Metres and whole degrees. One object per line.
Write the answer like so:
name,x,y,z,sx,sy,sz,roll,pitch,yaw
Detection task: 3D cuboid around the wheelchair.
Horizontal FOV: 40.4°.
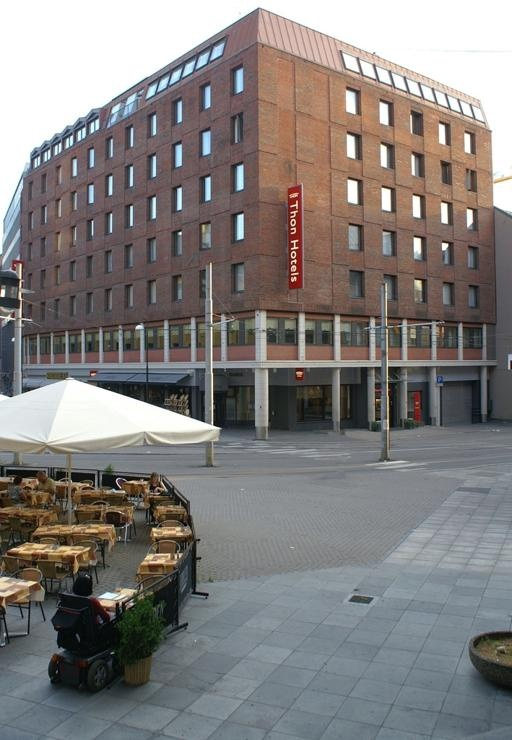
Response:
wheelchair,-1.946,3.124,8.238,0.669,0.988,1.022,-5,-7,20

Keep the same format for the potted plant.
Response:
potted plant,-1.308,3.075,7.857,0.480,1.003,0.473,1,-5,-34

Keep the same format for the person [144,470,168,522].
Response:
person,-2.470,3.164,17.122,0.695,1.138,0.822,1,-2,-24

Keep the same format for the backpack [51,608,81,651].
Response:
backpack,-2.165,2.951,7.869,0.348,0.473,0.229,-6,-6,44
